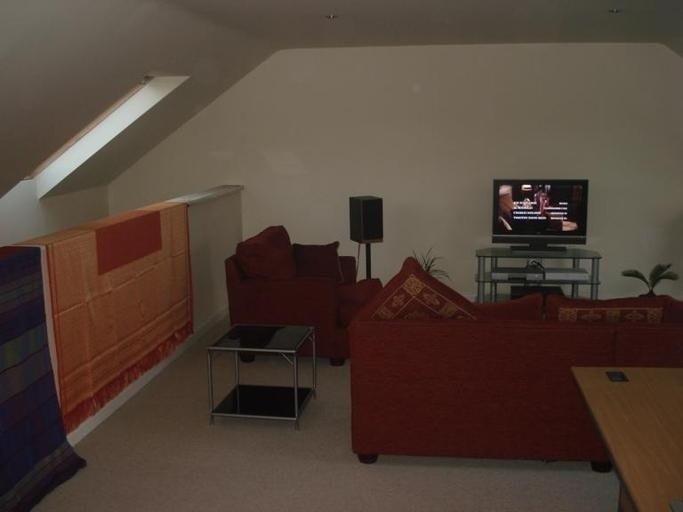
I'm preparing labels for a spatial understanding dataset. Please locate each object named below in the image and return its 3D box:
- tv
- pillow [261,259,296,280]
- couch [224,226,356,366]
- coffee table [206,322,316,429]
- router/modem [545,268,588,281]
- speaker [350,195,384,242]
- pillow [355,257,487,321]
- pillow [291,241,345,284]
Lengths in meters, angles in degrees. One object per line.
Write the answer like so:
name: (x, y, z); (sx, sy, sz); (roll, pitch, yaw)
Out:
tv: (2.184, -0.457, 5.779); (0.744, 0.577, 0.200); (1, 4, 8)
pillow: (-0.573, 0.102, 4.731); (0.054, 0.209, 0.215); (-21, -9, 39)
couch: (-0.378, 0.344, 5.086); (1.161, 1.101, 1.260); (2, 10, 13)
coffee table: (-0.551, 0.807, 3.890); (0.682, 0.587, 0.713); (2, 14, 7)
router/modem: (2.392, 0.203, 5.616); (0.422, 0.140, 0.147); (5, 7, 12)
speaker: (0.246, -0.366, 5.422); (0.300, 0.488, 0.335); (2, 7, -12)
pillow: (0.449, 0.208, 3.127); (0.692, 0.349, 0.186); (4, 7, 4)
pillow: (-0.238, 0.063, 5.165); (0.391, 0.393, 0.127); (-4, -22, -10)
